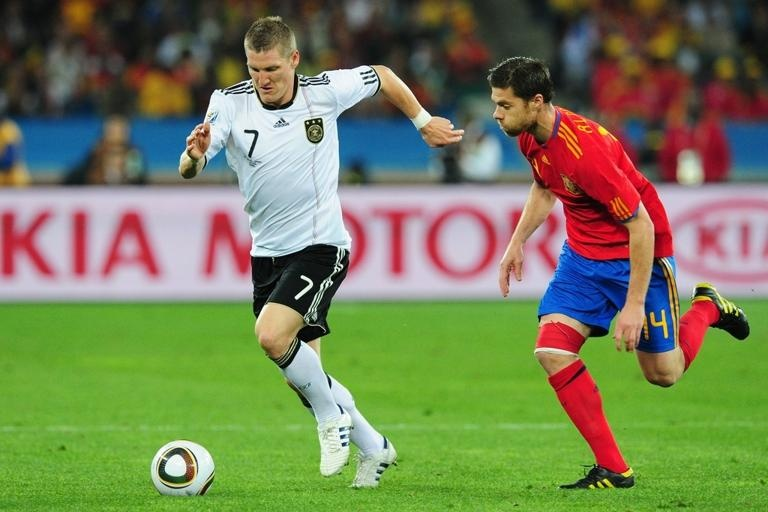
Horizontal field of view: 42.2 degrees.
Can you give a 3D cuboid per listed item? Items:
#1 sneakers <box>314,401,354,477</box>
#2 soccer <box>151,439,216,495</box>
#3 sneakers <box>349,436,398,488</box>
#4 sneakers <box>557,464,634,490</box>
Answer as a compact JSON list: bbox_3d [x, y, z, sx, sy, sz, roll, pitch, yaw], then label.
[{"bbox_3d":[-0.364,1.385,7.648,0.186,0.530,0.257,-8,-16,37],"label":"sneakers"},{"bbox_3d":[-1.508,1.600,7.619,0.403,0.393,0.412,0,57,2],"label":"soccer"},{"bbox_3d":[-0.022,1.654,7.864,0.172,0.509,0.262,11,39,-33],"label":"sneakers"},{"bbox_3d":[1.641,1.661,7.706,0.612,0.230,0.210,2,-8,-1],"label":"sneakers"}]
